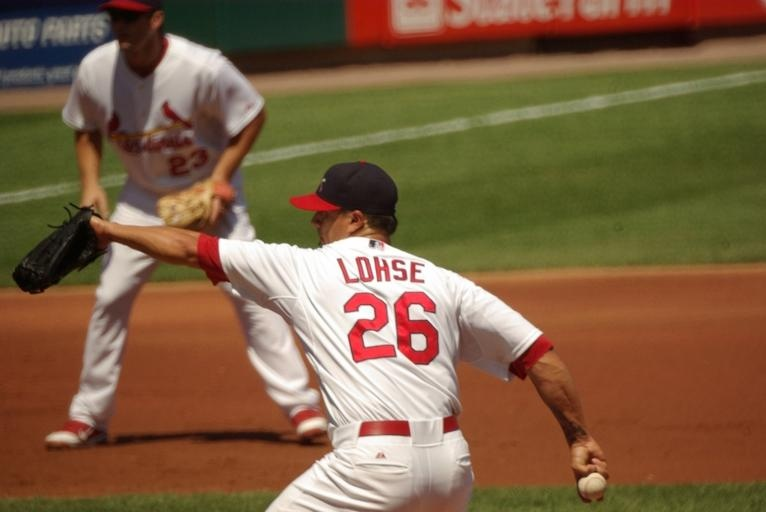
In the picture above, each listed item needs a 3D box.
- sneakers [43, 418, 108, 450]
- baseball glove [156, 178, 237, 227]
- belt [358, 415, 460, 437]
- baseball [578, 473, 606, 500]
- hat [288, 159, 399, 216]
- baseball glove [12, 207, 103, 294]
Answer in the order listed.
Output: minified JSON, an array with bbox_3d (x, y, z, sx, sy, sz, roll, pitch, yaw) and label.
[{"bbox_3d":[-2.702,1.573,10.116,0.572,0.223,0.238,6,2,-19],"label":"sneakers"},{"bbox_3d":[-1.549,-0.443,9.570,0.344,0.208,0.533,41,50,19],"label":"baseball glove"},{"bbox_3d":[0.192,1.247,8.347,0.735,0.124,0.099,-4,12,-9],"label":"belt"},{"bbox_3d":[1.533,1.679,8.377,0.201,0.189,0.185,-14,37,8],"label":"baseball"},{"bbox_3d":[-0.267,-0.525,8.840,0.684,0.337,0.398,7,7,5],"label":"hat"},{"bbox_3d":[-2.413,0.010,8.838,0.675,0.661,0.202,-39,-18,1],"label":"baseball glove"}]
